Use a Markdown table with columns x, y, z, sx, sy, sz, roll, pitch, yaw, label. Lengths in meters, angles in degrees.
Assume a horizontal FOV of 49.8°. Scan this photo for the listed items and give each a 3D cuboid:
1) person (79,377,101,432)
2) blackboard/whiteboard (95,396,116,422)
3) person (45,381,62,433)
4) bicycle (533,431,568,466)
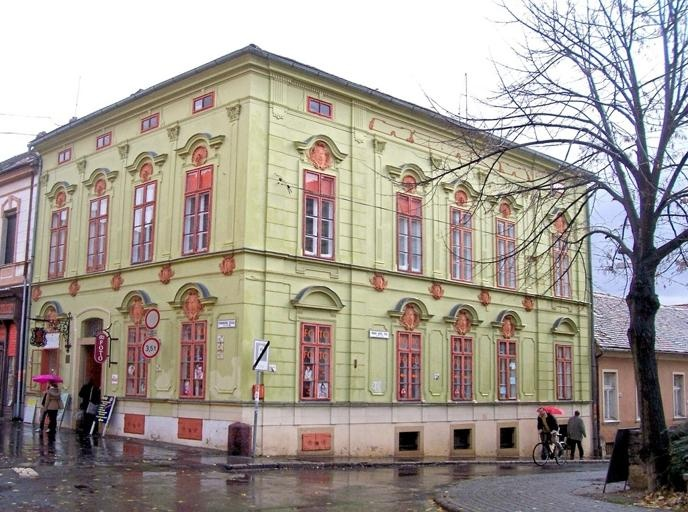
| x | y | z | sx | sy | sz | roll | pitch | yaw | label |
| --- | --- | --- | --- | --- | --- | --- | --- | --- | --- |
| -9.794 | 5.908 | 29.015 | 1.071 | 1.808 | 0.420 | 3 | -8 | 37 | person |
| -8.835 | 5.704 | 27.657 | 0.398 | 0.919 | 0.766 | 13 | -19 | -42 | blackboard/whiteboard |
| -10.940 | 5.675 | 27.819 | 0.634 | 1.926 | 1.583 | 5 | -15 | -20 | person |
| 7.909 | 7.423 | 28.402 | 1.922 | 1.197 | 1.099 | 24 | -32 | -38 | bicycle |
